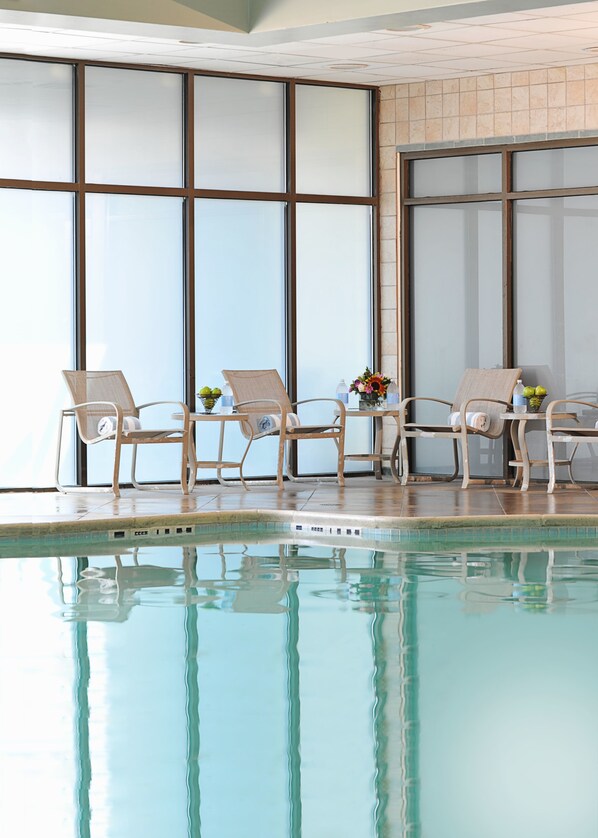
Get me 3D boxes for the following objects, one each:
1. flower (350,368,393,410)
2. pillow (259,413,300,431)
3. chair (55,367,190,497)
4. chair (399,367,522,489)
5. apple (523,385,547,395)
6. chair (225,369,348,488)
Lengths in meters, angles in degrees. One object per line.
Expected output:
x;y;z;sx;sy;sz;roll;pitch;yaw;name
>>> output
0.649;-0.297;7.559;0.361;0.373;0.360;1;9;-25;flower
-0.147;0.024;6.769;0.331;0.137;0.520;-1;2;-7;pillow
-1.420;0.094;6.506;0.961;1.015;0.905;-1;1;-38;chair
1.439;0.050;7.163;0.903;1.104;0.895;2;1;43;chair
2.191;-0.261;7.384;0.134;0.084;0.189;2;1;16;apple
-0.139;0.042;6.994;0.733;1.046;0.924;-4;1;-43;chair
